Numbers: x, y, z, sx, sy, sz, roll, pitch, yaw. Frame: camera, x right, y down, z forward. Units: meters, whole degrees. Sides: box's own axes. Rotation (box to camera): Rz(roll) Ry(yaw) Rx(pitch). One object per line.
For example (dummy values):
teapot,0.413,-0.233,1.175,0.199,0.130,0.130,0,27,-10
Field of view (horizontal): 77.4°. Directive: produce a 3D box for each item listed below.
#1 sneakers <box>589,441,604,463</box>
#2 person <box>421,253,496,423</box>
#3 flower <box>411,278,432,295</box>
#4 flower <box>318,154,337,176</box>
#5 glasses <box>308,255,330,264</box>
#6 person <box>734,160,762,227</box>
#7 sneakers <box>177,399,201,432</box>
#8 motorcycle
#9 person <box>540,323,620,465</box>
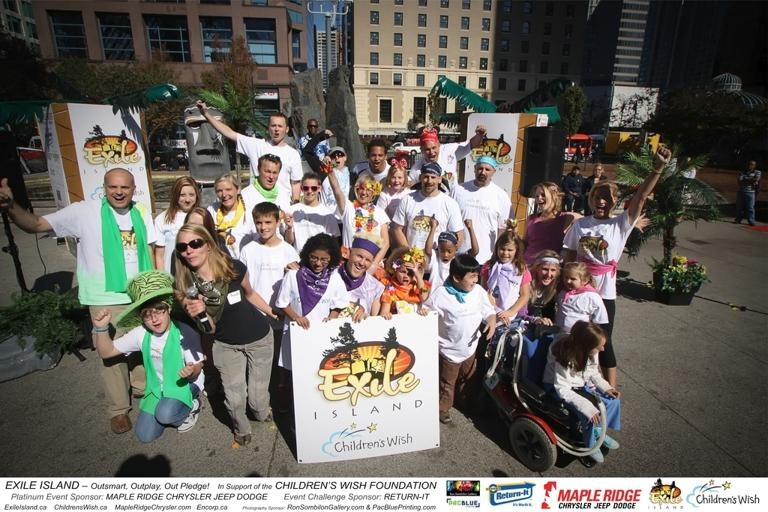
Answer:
sneakers,2.865,2.653,6.411,0.175,0.190,0.473,-7,-15,12
person,0.986,1.288,7.004,1.155,2.451,0.814,-3,17,-6
flower,0.577,0.445,7.103,0.193,0.143,0.195,-2,8,-14
flower,-0.921,-1.470,7.912,0.304,0.425,0.163,-2,5,-9
glasses,-0.889,0.052,6.678,0.162,0.057,0.173,4,13,-2
person,11.858,-2.060,15.665,0.664,2.076,0.493,11,22,28
sneakers,-2.781,2.252,6.911,0.214,0.283,0.648,7,10,-12
motorcycle,2.358,1.914,6.922,1.886,1.832,1.411,17,12,23
person,2.716,1.762,6.533,0.796,1.634,1.119,-14,27,-32
